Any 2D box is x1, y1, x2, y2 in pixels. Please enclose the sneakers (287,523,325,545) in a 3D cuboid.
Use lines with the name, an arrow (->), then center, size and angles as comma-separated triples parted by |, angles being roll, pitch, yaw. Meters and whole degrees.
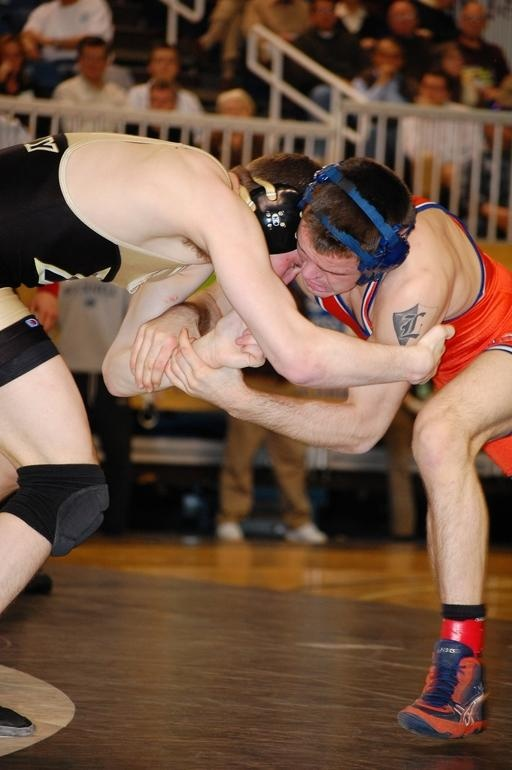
sneakers -> 0.268, 0.810, 4.234 | 0.124, 0.186, 0.108 | 3, 79, -27
